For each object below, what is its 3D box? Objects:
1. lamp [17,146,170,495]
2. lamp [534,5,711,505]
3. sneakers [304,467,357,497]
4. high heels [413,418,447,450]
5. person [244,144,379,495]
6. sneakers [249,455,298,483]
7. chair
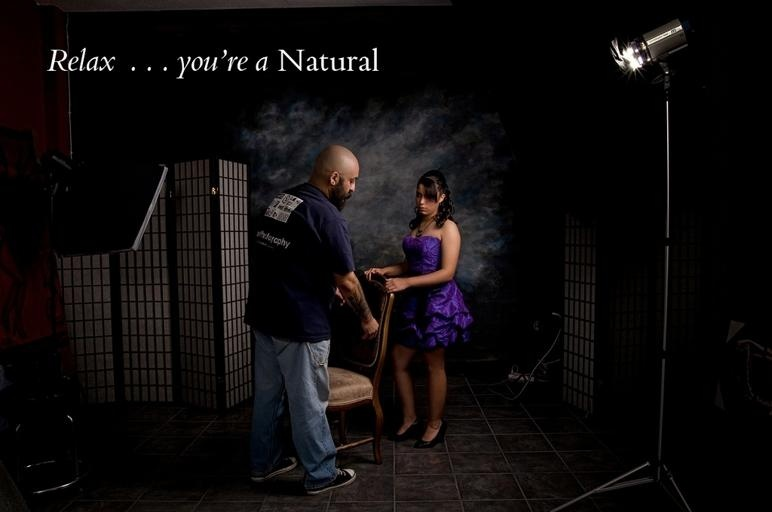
[{"bbox_3d":[-2.161,0.459,4.504,1.345,2.342,0.796,0,7,35],"label":"lamp"},{"bbox_3d":[1.704,0.093,4.333,0.676,3.223,0.506,-1,6,25],"label":"lamp"},{"bbox_3d":[-0.407,1.565,4.558,0.400,0.168,0.133,-11,11,-27],"label":"sneakers"},{"bbox_3d":[0.361,1.403,5.019,0.347,0.143,0.116,-1,-2,-43],"label":"high heels"},{"bbox_3d":[-0.561,0.460,4.438,0.922,2.394,0.341,-5,6,-10],"label":"person"},{"bbox_3d":[-0.798,1.516,4.637,0.350,0.135,0.129,-8,8,-44],"label":"sneakers"},{"bbox_3d":[-0.410,0.875,4.767,0.923,1.362,0.890,1,1,-4],"label":"chair"}]
